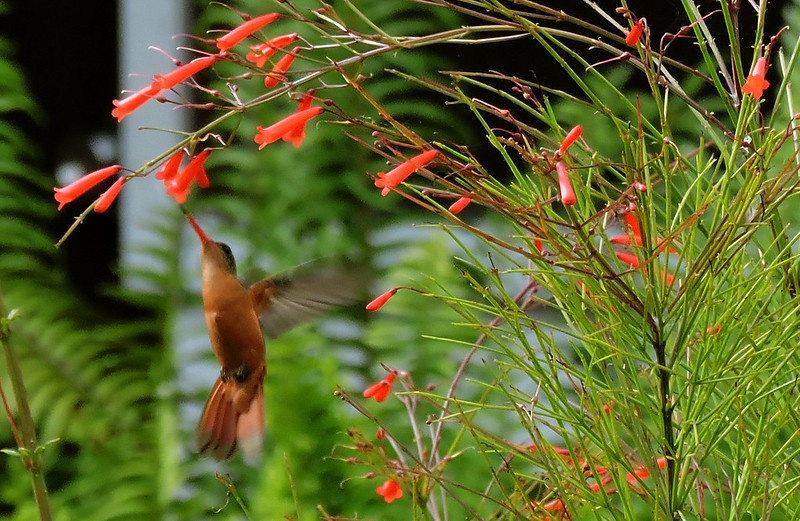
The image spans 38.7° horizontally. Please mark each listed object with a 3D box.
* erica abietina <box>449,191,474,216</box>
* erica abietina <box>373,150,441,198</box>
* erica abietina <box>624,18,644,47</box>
[{"bbox_3d":[0.168,-0.161,3.177,0.074,0.042,0.024,-33,44,14],"label":"erica abietina"},{"bbox_3d":[0.016,-0.251,3.116,0.206,0.090,0.090,-38,9,7],"label":"erica abietina"},{"bbox_3d":[0.638,-0.616,3.080,0.052,0.069,0.094,-2,32,24],"label":"erica abietina"}]
